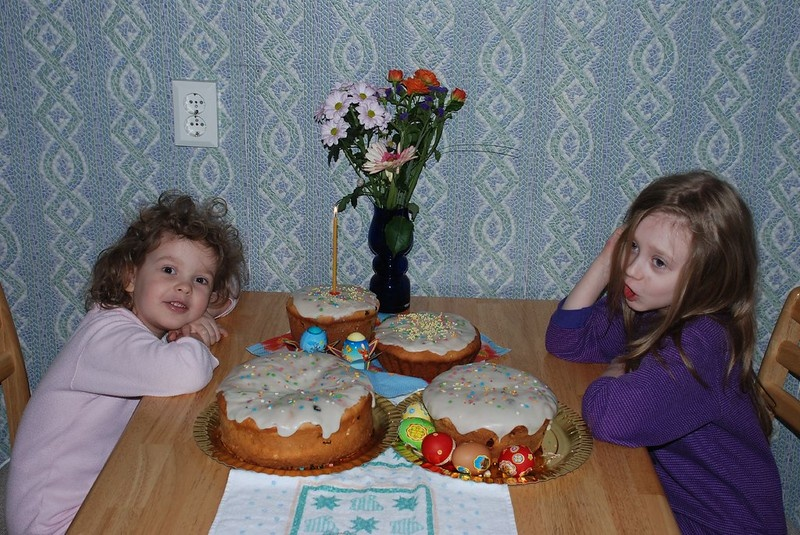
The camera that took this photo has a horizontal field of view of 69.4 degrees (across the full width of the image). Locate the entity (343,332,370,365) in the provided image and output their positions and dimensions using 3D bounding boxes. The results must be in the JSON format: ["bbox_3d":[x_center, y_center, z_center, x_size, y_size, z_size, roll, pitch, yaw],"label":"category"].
[{"bbox_3d":[-0.131,0.239,1.738,0.086,0.136,0.083,-1,5,-6],"label":"entity"}]

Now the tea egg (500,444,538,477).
[{"bbox_3d":[0.285,0.462,1.405,0.075,0.059,0.060,-8,4,-21],"label":"tea egg"}]

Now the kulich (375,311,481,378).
[{"bbox_3d":[0.100,0.196,1.849,0.290,0.184,0.321,3,13,20],"label":"kulich"}]

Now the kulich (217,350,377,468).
[{"bbox_3d":[-0.267,0.350,1.476,0.380,0.240,0.348,-6,15,-16],"label":"kulich"}]

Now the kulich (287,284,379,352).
[{"bbox_3d":[-0.191,0.125,1.926,0.237,0.203,0.379,4,15,17],"label":"kulich"}]

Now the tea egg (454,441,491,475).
[{"bbox_3d":[0.165,0.450,1.391,0.062,0.047,0.078,0,6,22],"label":"tea egg"}]
